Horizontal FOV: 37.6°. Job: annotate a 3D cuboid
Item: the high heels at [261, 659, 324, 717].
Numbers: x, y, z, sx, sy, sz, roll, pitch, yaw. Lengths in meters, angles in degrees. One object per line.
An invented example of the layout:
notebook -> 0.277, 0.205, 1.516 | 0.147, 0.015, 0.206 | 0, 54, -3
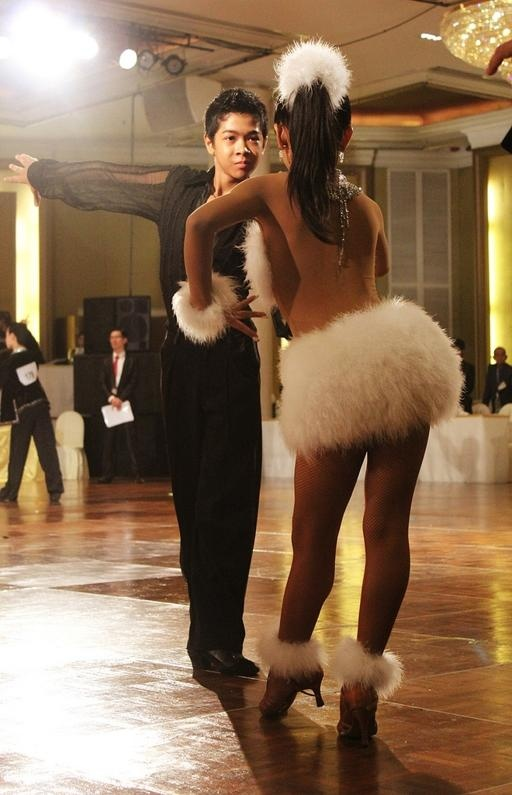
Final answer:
high heels -> 0.047, 0.565, 1.470 | 0.150, 0.131, 0.074 | 3, -5, -7

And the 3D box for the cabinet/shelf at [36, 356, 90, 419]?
cabinet/shelf -> -3.106, -0.305, 12.695 | 1.024, 1.280, 1.300 | -7, 6, -16

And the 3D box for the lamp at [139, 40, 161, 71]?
lamp -> -1.612, -5.098, 11.269 | 0.309, 0.288, 0.331 | 2, 4, -8

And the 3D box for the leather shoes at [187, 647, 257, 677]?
leather shoes -> -0.078, 0.645, 1.833 | 0.167, 0.058, 0.058 | -3, -7, 12

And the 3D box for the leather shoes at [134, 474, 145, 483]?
leather shoes -> -1.645, 1.132, 10.489 | 0.075, 0.051, 0.119 | 12, 8, -1

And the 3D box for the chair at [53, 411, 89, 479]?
chair -> -2.936, 0.728, 11.329 | 0.717, 0.922, 0.706 | 3, -8, -29

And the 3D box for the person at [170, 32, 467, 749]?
person -> 0.090, -0.034, 1.440 | 0.531, 1.338, 0.311 | 6, 5, 38
